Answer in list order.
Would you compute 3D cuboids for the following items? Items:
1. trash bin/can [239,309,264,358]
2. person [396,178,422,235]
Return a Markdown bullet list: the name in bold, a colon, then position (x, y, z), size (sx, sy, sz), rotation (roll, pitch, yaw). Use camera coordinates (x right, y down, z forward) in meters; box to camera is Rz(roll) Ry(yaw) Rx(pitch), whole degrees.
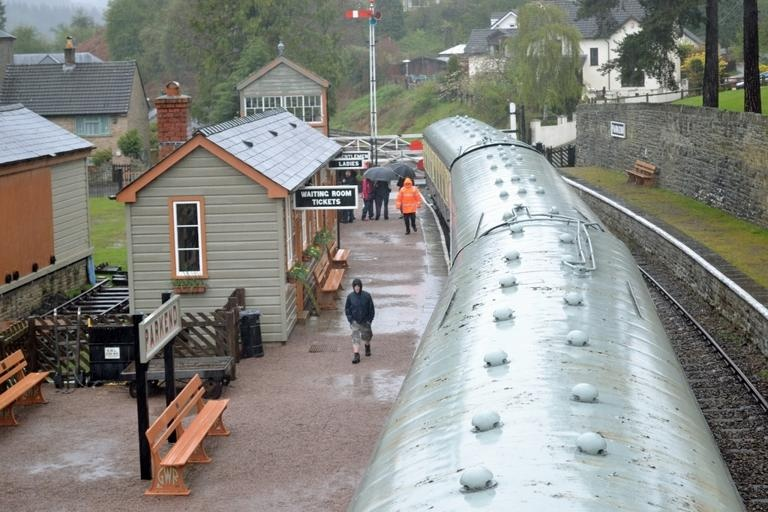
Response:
- **trash bin/can**: position (-2.991, 1.759, 19.492), size (0.518, 0.982, 0.370), rotation (-3, 12, -12)
- **person**: position (0.996, -1.890, 31.459), size (0.821, 2.185, 0.713), rotation (-3, 22, 0)
